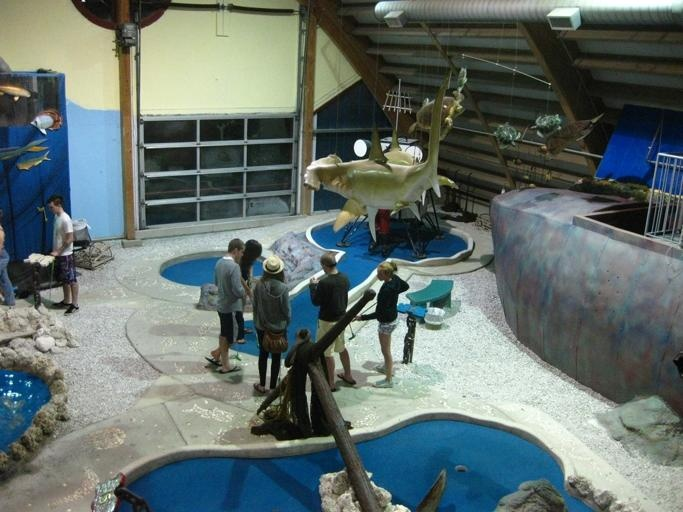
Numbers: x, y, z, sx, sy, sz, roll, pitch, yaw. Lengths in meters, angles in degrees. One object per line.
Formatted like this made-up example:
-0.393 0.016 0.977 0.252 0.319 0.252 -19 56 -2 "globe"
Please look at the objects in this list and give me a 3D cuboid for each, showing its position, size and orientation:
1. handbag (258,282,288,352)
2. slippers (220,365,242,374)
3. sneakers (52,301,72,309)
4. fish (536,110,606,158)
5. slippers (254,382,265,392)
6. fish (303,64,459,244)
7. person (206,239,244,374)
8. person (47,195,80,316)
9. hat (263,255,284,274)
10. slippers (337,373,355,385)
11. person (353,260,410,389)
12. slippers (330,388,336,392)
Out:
-0.957 0.845 6.364 0.483 1.295 0.282 1 18 -8 "handbag"
-1.744 1.762 7.282 0.251 0.051 0.123 -5 17 -13 "slippers"
-5.463 0.957 9.066 0.433 0.149 0.148 4 16 1 "sneakers"
4.118 -2.256 8.737 1.120 0.359 0.971 -18 13 6 "fish"
-1.207 1.906 6.845 0.086 0.066 0.183 -19 33 -37 "slippers"
0.397 -1.037 4.972 2.068 1.512 1.027 13 36 41 "fish"
-1.740 0.768 7.077 0.453 2.099 0.554 -6 20 -29 "person"
-5.252 -0.032 8.719 0.448 2.148 0.792 -6 20 -29 "person"
-0.924 0.121 6.273 0.228 0.208 0.246 -1 17 -14 "hat"
0.052 1.878 7.229 0.105 0.073 0.279 -12 24 -33 "slippers"
0.664 1.234 7.743 1.060 2.377 0.990 7 28 12 "person"
-0.131 1.965 6.924 0.069 0.045 0.068 10 16 36 "slippers"
